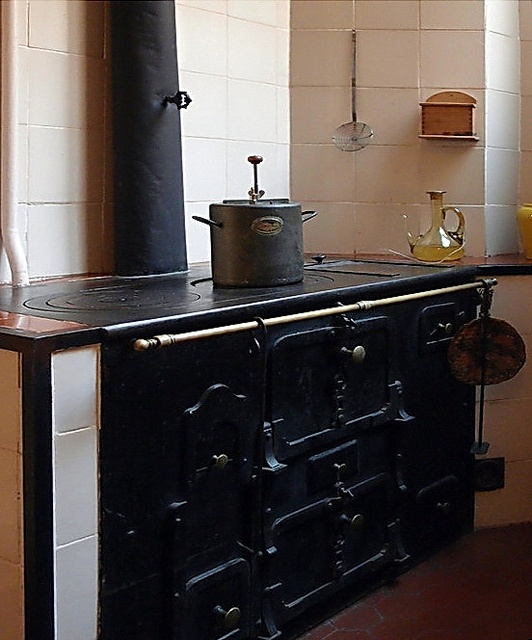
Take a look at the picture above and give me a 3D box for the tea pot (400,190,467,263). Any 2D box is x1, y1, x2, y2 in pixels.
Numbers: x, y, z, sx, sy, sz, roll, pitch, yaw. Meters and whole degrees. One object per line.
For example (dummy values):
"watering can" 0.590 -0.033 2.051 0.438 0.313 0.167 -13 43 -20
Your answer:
"tea pot" 0.603 -0.327 2.456 0.223 0.224 0.179 -10 18 -21
